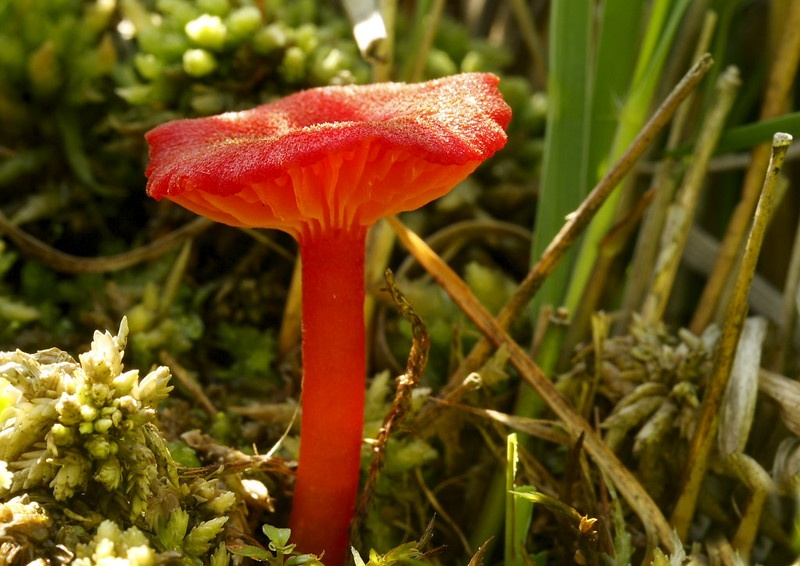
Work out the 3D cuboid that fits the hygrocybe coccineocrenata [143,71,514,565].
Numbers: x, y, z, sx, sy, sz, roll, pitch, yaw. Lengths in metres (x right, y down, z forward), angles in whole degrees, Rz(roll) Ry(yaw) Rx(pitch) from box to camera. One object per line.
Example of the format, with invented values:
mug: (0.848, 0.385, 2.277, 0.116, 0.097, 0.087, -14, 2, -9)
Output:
hygrocybe coccineocrenata: (-0.100, 0.027, 1.166, 0.488, 0.650, 0.380, -14, 26, -27)
